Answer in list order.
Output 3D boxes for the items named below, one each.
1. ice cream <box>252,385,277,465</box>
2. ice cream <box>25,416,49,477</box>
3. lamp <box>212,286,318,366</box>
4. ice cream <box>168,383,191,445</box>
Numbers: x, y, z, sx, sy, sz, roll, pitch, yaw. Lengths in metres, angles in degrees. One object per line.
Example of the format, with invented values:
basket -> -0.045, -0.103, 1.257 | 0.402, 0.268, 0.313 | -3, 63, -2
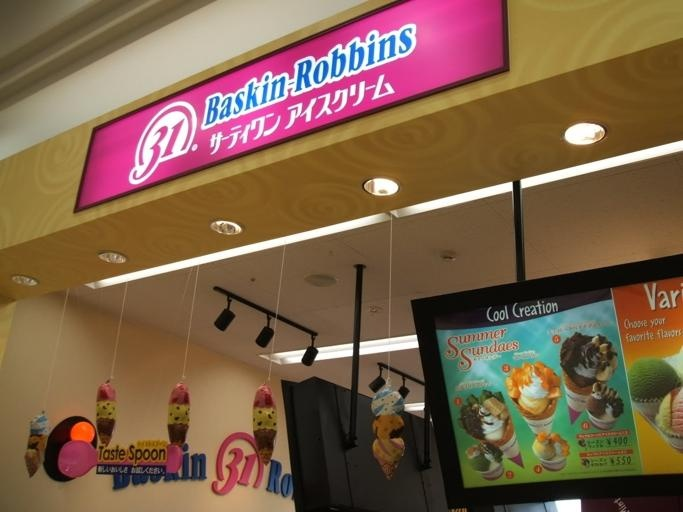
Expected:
ice cream -> -0.501, 1.077, 3.506 | 0.140, 0.504, 0.234 | 1, -21, -8
ice cream -> -2.608, 1.592, 4.620 | 0.141, 0.486, 0.313 | 9, -24, -27
lamp -> -0.933, 0.832, 6.619 | 0.192, 0.388, 1.254 | -5, -29, 38
ice cream -> -1.124, 1.077, 3.727 | 0.129, 0.416, 0.220 | 4, -22, -17
